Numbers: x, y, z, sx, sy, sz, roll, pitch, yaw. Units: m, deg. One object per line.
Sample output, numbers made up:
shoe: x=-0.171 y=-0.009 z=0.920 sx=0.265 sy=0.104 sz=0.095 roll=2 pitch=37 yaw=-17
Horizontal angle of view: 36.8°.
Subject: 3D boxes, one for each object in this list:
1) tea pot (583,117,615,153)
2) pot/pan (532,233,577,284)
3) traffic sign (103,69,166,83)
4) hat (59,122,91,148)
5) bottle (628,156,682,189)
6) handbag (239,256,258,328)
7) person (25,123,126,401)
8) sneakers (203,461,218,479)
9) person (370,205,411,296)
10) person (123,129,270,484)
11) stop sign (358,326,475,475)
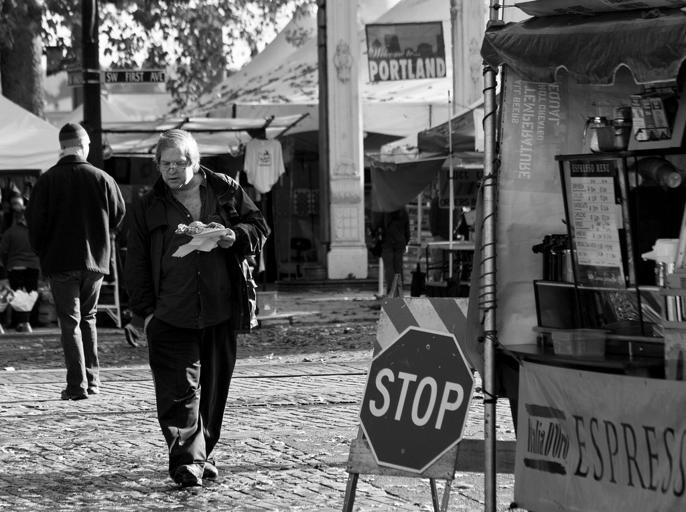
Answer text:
tea pot: x=1.583 y=-0.755 z=6.354 sx=0.173 sy=0.277 sz=0.180 roll=-4 pitch=20 yaw=2
pot/pan: x=1.282 y=0.011 z=6.280 sx=0.247 sy=0.275 sz=0.263 roll=-1 pitch=4 yaw=-6
traffic sign: x=-2.764 y=-2.415 z=13.747 sx=0.795 sy=0.202 sz=0.450 roll=-1 pitch=4 yaw=-14
hat: x=-2.715 y=-1.230 z=10.498 sx=0.278 sy=0.250 sz=0.216 roll=-27 pitch=20 yaw=-27
bottle: x=1.895 y=-0.510 z=6.292 sx=0.306 sy=0.193 sz=0.318 roll=0 pitch=4 yaw=0
handbag: x=-0.676 y=0.257 z=7.629 sx=0.122 sy=0.431 sz=0.292 roll=0 pitch=1 yaw=-3
person: x=-2.670 y=0.022 z=10.423 sx=0.652 sy=2.732 sz=0.822 roll=2 pitch=4 yaw=32
sneakers: x=-0.961 y=1.559 z=7.580 sx=0.064 sy=0.135 sz=0.054 roll=-14 pitch=-1 yaw=20
person: x=0.833 y=-0.108 z=18.305 sx=0.671 sy=1.561 sz=0.943 roll=0 pitch=4 yaw=2
person: x=-1.060 y=0.349 z=7.501 sx=0.970 sy=2.538 sz=0.617 roll=-1 pitch=3 yaw=-12
stop sign: x=0.453 y=0.878 z=6.303 sx=0.837 sy=1.141 sz=0.048 roll=0 pitch=-11 yaw=25
